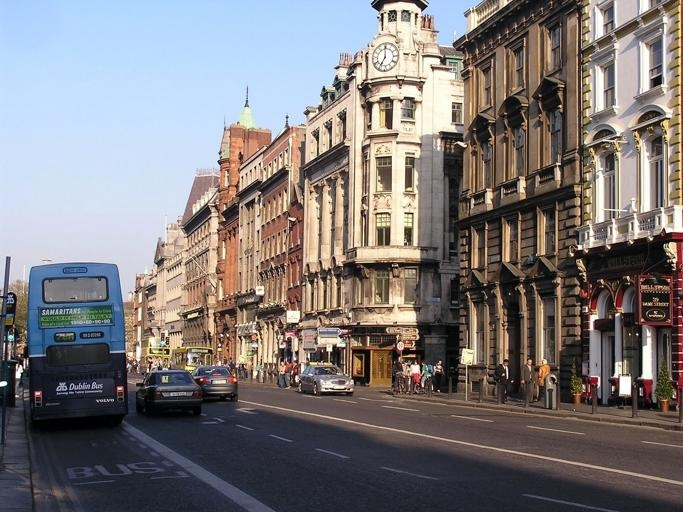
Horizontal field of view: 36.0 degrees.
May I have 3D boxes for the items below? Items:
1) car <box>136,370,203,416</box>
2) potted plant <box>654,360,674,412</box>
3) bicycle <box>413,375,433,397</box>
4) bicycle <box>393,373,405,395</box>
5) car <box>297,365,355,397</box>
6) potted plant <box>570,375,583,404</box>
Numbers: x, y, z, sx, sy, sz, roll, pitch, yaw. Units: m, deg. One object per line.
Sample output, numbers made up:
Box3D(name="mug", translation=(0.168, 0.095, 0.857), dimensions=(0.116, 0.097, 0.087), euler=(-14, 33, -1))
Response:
Box3D(name="car", translation=(-6.654, 5.235, 40.573), dimensions=(1.843, 2.015, 3.366), euler=(4, -14, -28))
Box3D(name="potted plant", translation=(12.536, 4.987, 40.682), dimensions=(0.738, 2.029, 1.313), euler=(-5, -12, 17))
Box3D(name="bicycle", translation=(4.381, 6.929, 56.808), dimensions=(0.808, 1.042, 1.603), euler=(4, -10, -22))
Box3D(name="bicycle", translation=(3.161, 6.886, 57.181), dimensions=(0.601, 1.198, 1.079), euler=(-3, -11, 5))
Box3D(name="car", translation=(-0.745, 6.639, 56.719), dimensions=(2.139, 2.023, 3.496), euler=(1, -12, -14))
Box3D(name="potted plant", translation=(10.188, 5.722, 45.312), dimensions=(0.508, 1.282, 0.644), euler=(-5, -11, 16))
